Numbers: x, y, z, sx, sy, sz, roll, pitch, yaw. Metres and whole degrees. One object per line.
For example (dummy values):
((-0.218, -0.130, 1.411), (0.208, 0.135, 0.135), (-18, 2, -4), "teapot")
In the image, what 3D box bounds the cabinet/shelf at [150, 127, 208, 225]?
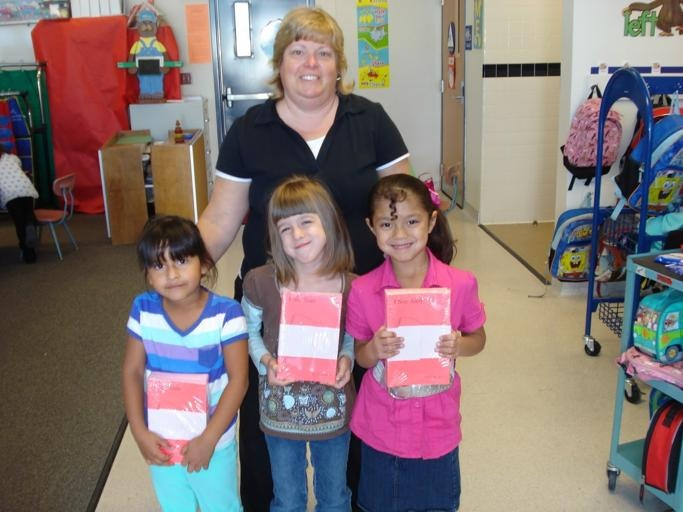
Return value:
((-1.958, -1.253, 6.875), (0.410, 1.267, 1.309), (-2, 50, -10), "cabinet/shelf")

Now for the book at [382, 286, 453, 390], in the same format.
((0.262, 0.275, 1.915), (0.219, 0.361, 0.043), (-3, 22, 0), "book")

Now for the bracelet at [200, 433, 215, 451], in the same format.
((-0.453, 0.631, 1.936), (0.040, 0.042, 0.043), (1, -5, -15), "bracelet")

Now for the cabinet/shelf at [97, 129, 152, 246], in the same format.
((-2.453, -0.777, 6.516), (0.452, 1.289, 1.262), (0, 18, -3), "cabinet/shelf")

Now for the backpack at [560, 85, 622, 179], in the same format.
((1.887, -0.974, 4.267), (0.293, 0.666, 0.454), (0, 37, 9), "backpack")

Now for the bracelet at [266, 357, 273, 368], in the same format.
((-0.253, 0.375, 1.991), (0.019, 0.029, 0.009), (-3, -5, 19), "bracelet")

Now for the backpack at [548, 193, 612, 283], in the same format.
((1.752, -0.132, 4.312), (0.393, 0.596, 0.198), (3, 13, 7), "backpack")

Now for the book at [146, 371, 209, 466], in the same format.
((-0.556, 0.557, 1.944), (0.258, 0.419, 0.043), (1, 8, 2), "book")

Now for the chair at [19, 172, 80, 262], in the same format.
((-3.308, -0.471, 6.460), (0.450, 0.844, 0.488), (3, 11, -10), "chair")
